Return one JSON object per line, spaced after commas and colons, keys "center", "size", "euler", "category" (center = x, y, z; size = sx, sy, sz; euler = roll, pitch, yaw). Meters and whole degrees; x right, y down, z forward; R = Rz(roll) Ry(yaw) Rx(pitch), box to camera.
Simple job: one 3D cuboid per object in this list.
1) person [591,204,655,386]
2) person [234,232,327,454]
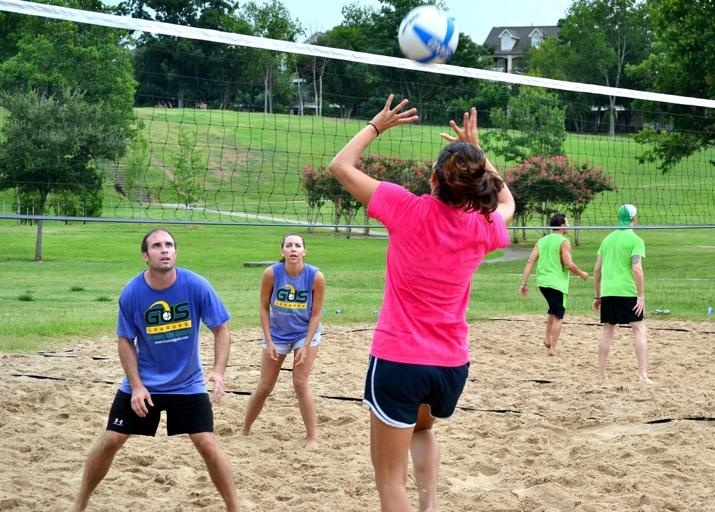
{"center": [3.735, 0.529, 12.544], "size": [0.547, 2.452, 0.868], "euler": [0, 0, -44], "category": "person"}
{"center": [-0.978, 0.925, 10.904], "size": [1.064, 2.395, 1.055], "euler": [6, 16, 0], "category": "person"}
